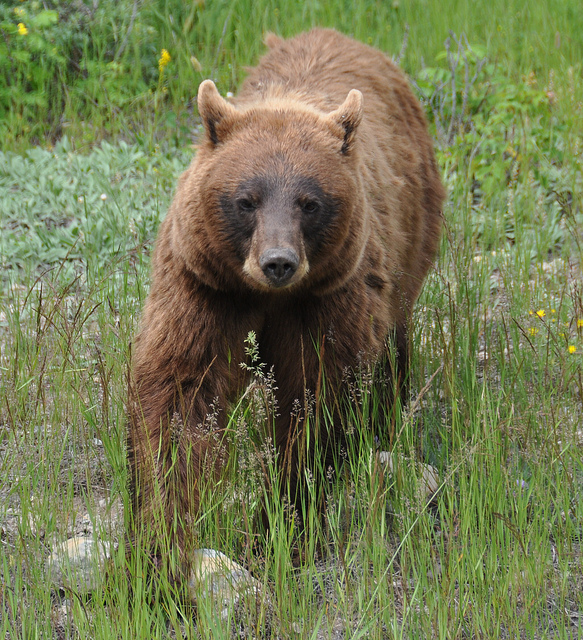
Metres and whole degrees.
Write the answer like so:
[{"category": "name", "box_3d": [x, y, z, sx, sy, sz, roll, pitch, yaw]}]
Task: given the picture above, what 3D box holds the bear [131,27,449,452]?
[{"category": "bear", "box_3d": [0.103, -0.479, 3.902, 0.939, 2.255, 2.638, 17, 28, 9]}]
